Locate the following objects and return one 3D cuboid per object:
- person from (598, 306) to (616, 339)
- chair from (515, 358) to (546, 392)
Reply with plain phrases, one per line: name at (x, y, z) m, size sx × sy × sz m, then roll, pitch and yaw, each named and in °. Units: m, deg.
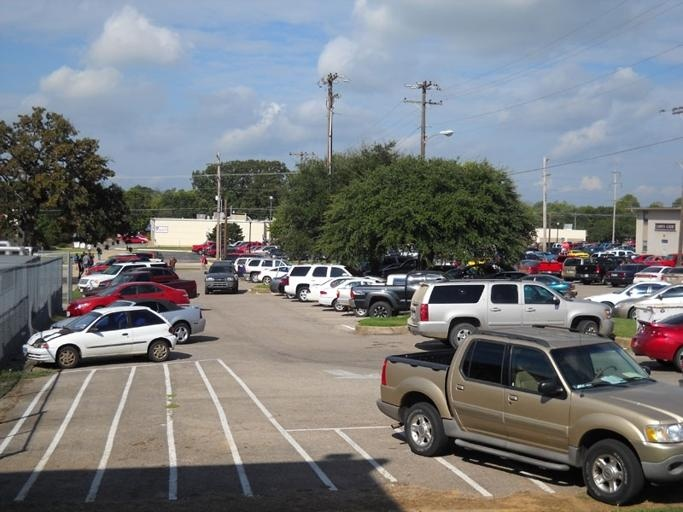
person at (8.254, 2.077, 21.262) m, size 0.483 × 1.211 × 0.912 m, roll -1°, pitch 1°, yaw 14°
chair at (3.029, 1.976, 11.218) m, size 0.391 × 0.539 × 0.436 m, roll 0°, pitch -1°, yaw -34°
